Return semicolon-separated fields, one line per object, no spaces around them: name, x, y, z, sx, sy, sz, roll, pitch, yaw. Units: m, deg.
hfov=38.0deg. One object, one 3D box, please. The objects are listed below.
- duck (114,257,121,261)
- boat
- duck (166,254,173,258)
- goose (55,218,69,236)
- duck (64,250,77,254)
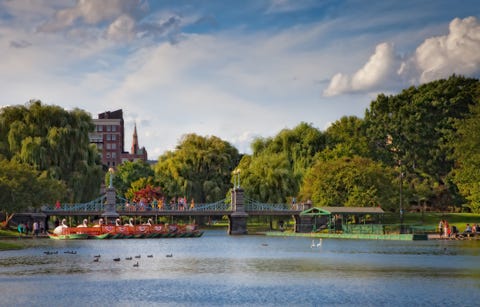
duck;-11.853;10.145;67.388;0.526;0.368;0.297;-1;0;14
boat;-15.252;10.530;94.552;18.531;2.119;2.872;3;-10;-19
duck;-7.106;10.241;70.363;0.336;0.458;0.661;-1;-7;-44
goose;-23.708;9.740;92.966;1.503;2.150;0.777;5;-6;-5
duck;-17.971;10.440;74.068;0.714;0.304;0.526;5;-4;17
